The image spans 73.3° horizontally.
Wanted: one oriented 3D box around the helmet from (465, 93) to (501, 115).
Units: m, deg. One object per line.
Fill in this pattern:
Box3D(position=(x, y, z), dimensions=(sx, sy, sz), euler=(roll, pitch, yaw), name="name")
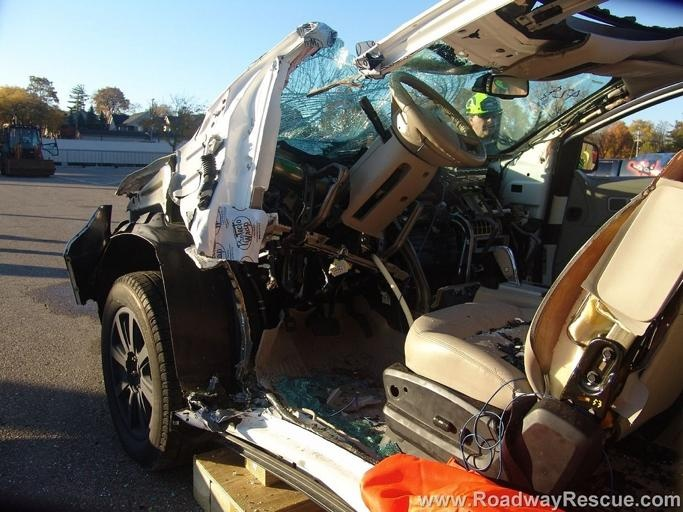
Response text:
Box3D(position=(1.073, -1.144, 3.440), dimensions=(0.216, 0.100, 0.141), euler=(0, 19, 11), name="helmet")
